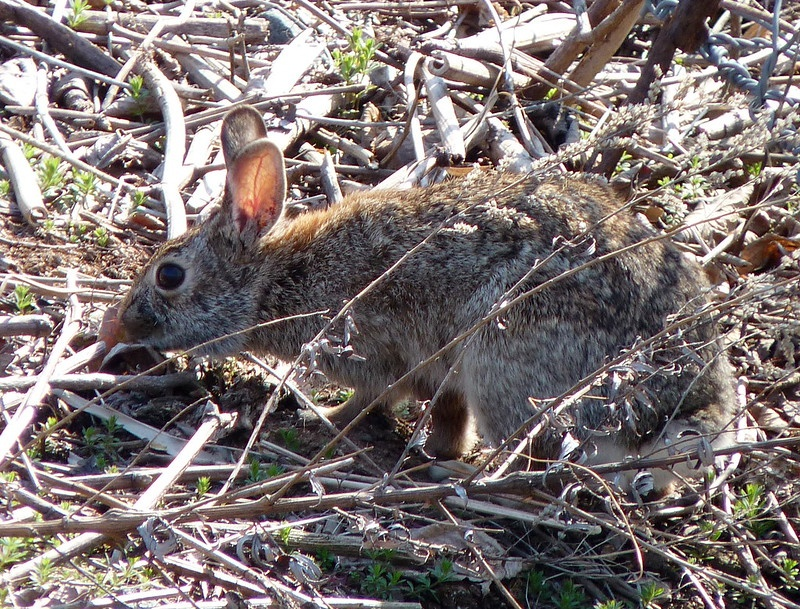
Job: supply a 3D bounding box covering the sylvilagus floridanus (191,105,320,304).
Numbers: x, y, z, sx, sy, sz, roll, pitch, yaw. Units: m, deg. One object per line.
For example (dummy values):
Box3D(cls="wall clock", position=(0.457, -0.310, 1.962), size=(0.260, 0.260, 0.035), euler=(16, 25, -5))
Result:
Box3D(cls="sylvilagus floridanus", position=(-0.817, -0.608, 4.985), size=(0.705, 1.025, 0.583), euler=(27, 44, 12))
